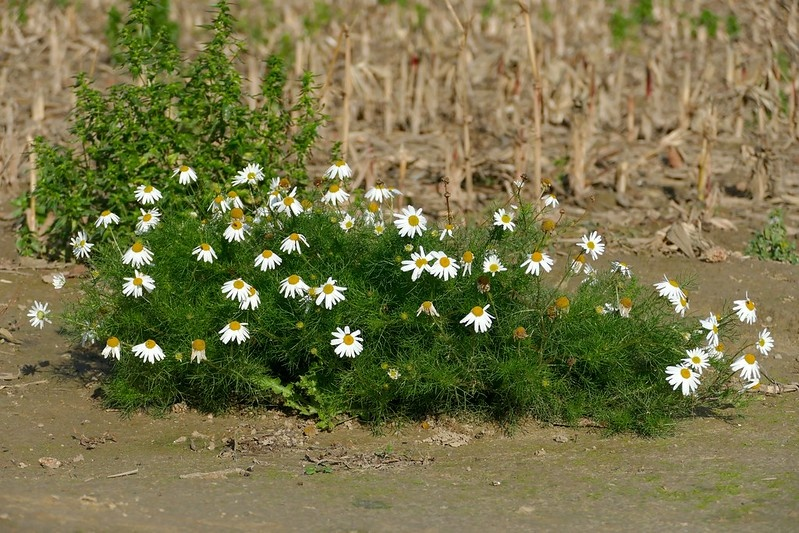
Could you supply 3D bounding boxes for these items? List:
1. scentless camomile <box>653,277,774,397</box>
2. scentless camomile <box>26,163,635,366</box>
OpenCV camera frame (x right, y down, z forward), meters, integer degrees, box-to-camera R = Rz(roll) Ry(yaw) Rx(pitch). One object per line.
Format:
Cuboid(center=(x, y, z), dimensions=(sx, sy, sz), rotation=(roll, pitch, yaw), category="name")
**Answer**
Cuboid(center=(2.565, 0.755, 10.896), dimensions=(1.007, 1.089, 0.585), rotation=(12, -14, -21), category="scentless camomile")
Cuboid(center=(-0.690, 0.024, 10.918), dimensions=(4.028, 1.769, 1.388), rotation=(6, 13, 1), category="scentless camomile")
